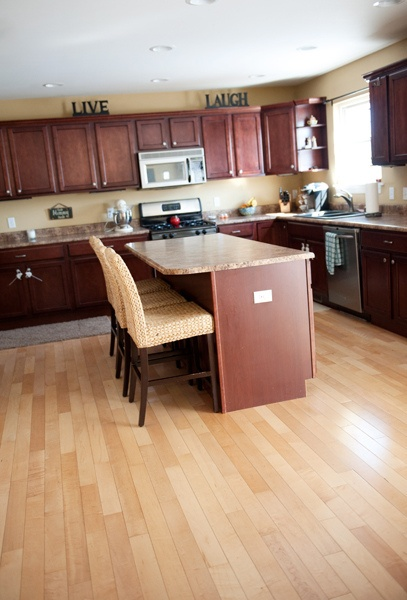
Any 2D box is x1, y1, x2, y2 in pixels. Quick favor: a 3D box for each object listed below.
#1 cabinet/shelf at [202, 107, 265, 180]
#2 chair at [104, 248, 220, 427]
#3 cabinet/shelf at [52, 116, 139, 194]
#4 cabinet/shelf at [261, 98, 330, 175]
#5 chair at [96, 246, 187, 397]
[{"bbox_3d":[0.348,-2.002,5.358,0.807,0.792,0.343,-5,16,-12],"label":"cabinet/shelf"},{"bbox_3d":[-0.356,0.175,2.853,0.481,0.911,1.323,-7,9,-16],"label":"chair"},{"bbox_3d":[-1.262,-1.671,5.109,0.940,0.854,0.394,-6,-2,-6],"label":"cabinet/shelf"},{"bbox_3d":[1.142,-2.071,5.434,0.785,0.850,0.455,2,20,24],"label":"cabinet/shelf"},{"bbox_3d":[-0.282,0.153,2.706,0.665,0.995,0.682,-1,18,-5],"label":"chair"}]
